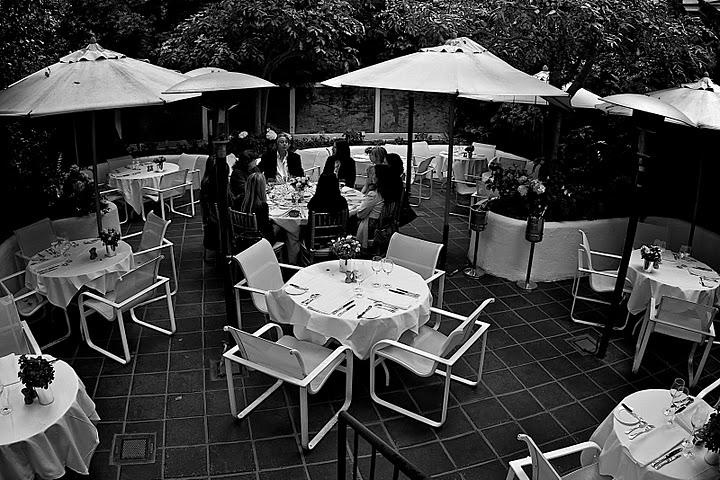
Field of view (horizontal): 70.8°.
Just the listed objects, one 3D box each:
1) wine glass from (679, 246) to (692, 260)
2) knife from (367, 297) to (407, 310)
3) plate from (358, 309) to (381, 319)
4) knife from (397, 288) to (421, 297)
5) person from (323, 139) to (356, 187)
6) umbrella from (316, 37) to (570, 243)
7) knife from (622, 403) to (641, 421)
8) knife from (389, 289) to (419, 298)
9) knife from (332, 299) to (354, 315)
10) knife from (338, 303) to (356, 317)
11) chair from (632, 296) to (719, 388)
[{"bbox_3d":[5.126,0.199,7.984,0.187,0.308,0.184,4,7,41],"label":"wine glass"},{"bbox_3d":[0.341,0.824,6.465,0.490,0.150,0.087,13,-19,2],"label":"knife"},{"bbox_3d":[0.132,0.913,6.241,0.270,0.045,0.169,-17,26,-41],"label":"plate"},{"bbox_3d":[0.626,0.681,6.637,0.339,0.061,0.100,19,40,34],"label":"knife"},{"bbox_3d":[-0.446,-1.567,10.816,0.714,1.072,0.632,-7,1,21],"label":"person"},{"bbox_3d":[0.916,-1.669,8.417,3.223,3.091,3.291,-5,28,-25],"label":"umbrella"},{"bbox_3d":[2.863,1.812,5.382,0.060,0.083,0.269,-31,7,5],"label":"knife"},{"bbox_3d":[0.564,0.690,6.673,0.415,0.023,0.128,9,37,19],"label":"knife"},{"bbox_3d":[-0.196,0.835,6.350,0.095,0.009,0.336,25,33,30],"label":"knife"},{"bbox_3d":[-0.169,0.857,6.373,0.320,0.101,0.074,-21,56,-42],"label":"knife"},{"bbox_3d":[4.337,1.276,6.972,0.866,1.247,0.900,12,22,30],"label":"chair"}]
